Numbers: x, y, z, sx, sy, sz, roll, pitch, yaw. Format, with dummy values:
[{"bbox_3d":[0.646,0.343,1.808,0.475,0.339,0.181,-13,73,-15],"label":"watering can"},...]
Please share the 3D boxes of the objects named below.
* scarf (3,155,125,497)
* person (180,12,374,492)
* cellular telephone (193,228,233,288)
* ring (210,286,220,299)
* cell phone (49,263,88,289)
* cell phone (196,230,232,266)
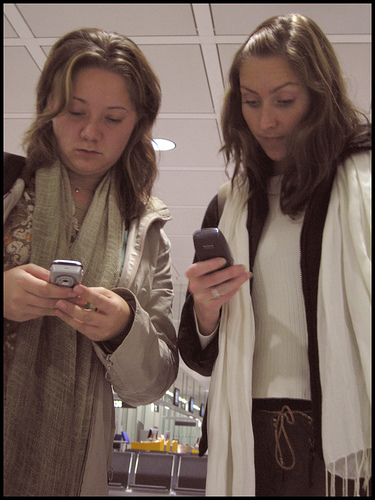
[{"bbox_3d":[-0.367,0.125,1.174,0.313,1.027,0.159,13,-21,-20],"label":"scarf"},{"bbox_3d":[0.240,-0.057,1.146,0.550,1.352,0.386,-1,-21,17],"label":"person"},{"bbox_3d":[0.061,0.006,0.957,0.082,0.062,0.156,1,-23,14],"label":"cellular telephone"},{"bbox_3d":[0.071,0.110,1.036,0.025,0.026,0.009,6,23,33],"label":"ring"},{"bbox_3d":[-0.275,0.061,0.904,0.072,0.043,0.083,14,-23,-18],"label":"cell phone"},{"bbox_3d":[0.064,-0.002,0.950,0.079,0.043,0.142,3,-23,10],"label":"cell phone"}]
